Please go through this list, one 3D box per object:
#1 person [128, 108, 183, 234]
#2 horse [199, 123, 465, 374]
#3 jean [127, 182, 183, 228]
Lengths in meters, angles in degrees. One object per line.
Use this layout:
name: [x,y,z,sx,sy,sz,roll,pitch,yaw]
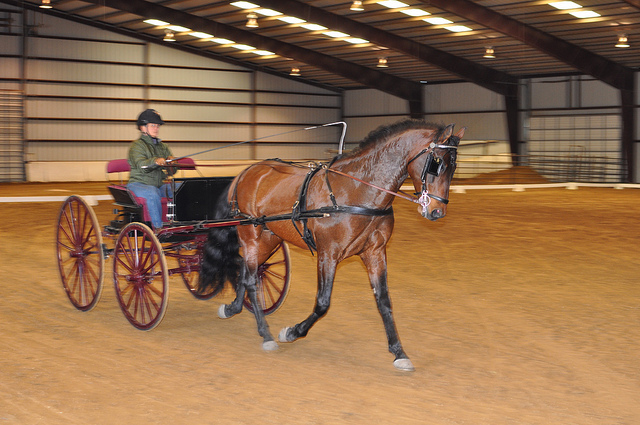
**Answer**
person: [-1.911,-0.504,6.000,0.567,1.395,0.933,-6,12,-15]
horse: [-0.041,0.299,5.348,1.116,2.003,3.732,16,-13,-37]
jean: [-1.946,-0.086,6.013,0.630,0.514,0.224,4,-1,-11]
